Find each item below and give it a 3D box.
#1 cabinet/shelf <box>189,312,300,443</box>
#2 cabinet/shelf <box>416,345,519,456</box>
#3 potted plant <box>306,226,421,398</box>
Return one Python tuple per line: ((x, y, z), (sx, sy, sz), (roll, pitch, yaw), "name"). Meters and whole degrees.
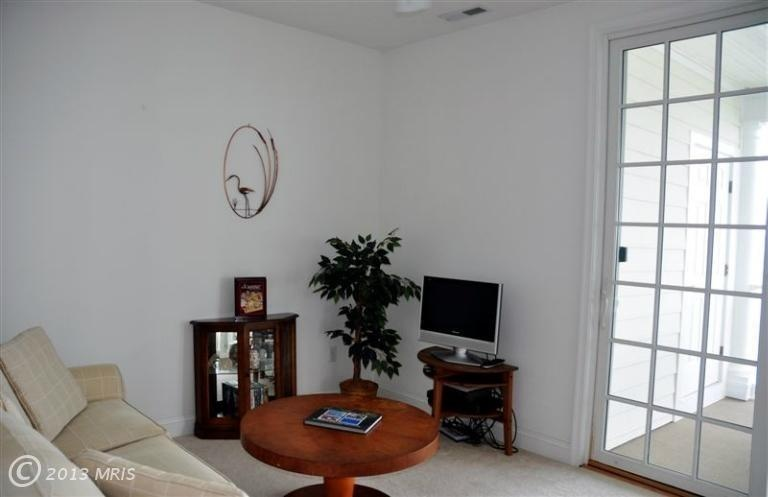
((-1.290, 1.074, 5.062), (0.865, 1.024, 0.430), (1, 9, -26), "cabinet/shelf")
((0.708, 1.312, 5.143), (1.083, 0.845, 0.792), (1, 0, 0), "cabinet/shelf")
((-0.153, 0.477, 5.344), (0.816, 1.790, 0.683), (7, 6, 40), "potted plant")
